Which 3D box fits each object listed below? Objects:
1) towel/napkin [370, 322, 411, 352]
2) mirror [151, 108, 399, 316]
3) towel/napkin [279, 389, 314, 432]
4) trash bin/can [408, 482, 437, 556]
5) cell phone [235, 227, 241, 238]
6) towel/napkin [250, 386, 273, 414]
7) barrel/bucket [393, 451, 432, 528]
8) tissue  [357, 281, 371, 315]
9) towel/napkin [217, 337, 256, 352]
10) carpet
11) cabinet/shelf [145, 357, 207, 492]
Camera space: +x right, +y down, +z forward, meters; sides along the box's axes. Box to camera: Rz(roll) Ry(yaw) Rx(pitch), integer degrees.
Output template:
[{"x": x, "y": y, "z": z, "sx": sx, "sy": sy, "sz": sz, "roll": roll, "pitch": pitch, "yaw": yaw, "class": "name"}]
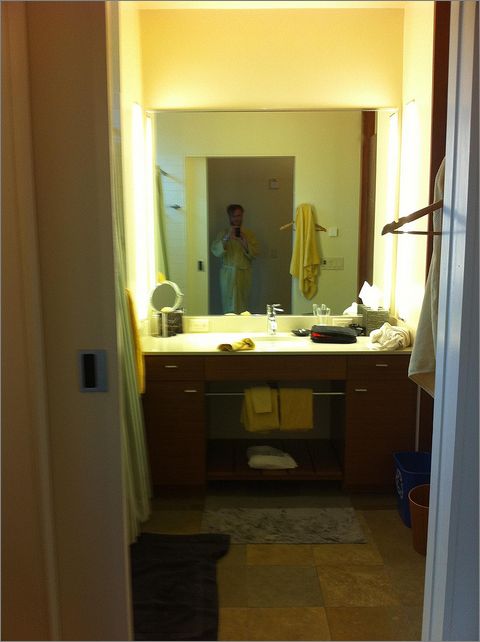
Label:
[{"x": 0.822, "y": 0.086, "z": 3.082, "sx": 0.230, "sy": 0.105, "sz": 0.303, "roll": 2, "pitch": 8, "yaw": 14, "class": "towel/napkin"}, {"x": 0.208, "y": -0.723, "z": 3.403, "sx": 1.106, "sy": 1.012, "sz": 0.018, "roll": 0, "pitch": 7, "yaw": -1, "class": "mirror"}, {"x": 0.302, "y": 0.483, "z": 3.014, "sx": 0.186, "sy": 0.221, "sz": 0.061, "roll": -3, "pitch": 6, "yaw": -5, "class": "towel/napkin"}, {"x": 0.825, "y": 0.905, "z": 2.484, "sx": 0.138, "sy": 0.225, "sz": 0.143, "roll": -5, "pitch": -1, "yaw": -11, "class": "trash bin/can"}, {"x": -0.015, "y": -0.552, "z": 3.458, "sx": 0.041, "sy": 0.065, "sz": 0.018, "roll": -1, "pitch": 3, "yaw": 1, "class": "cell phone"}, {"x": 0.119, "y": 0.430, "z": 3.041, "sx": 0.116, "sy": 0.133, "sz": 0.046, "roll": -3, "pitch": -6, "yaw": -7, "class": "towel/napkin"}, {"x": 0.886, "y": 0.848, "z": 2.806, "sx": 0.184, "sy": 0.271, "sz": 0.342, "roll": -1, "pitch": -1, "yaw": 3, "class": "barrel/bucket"}, {"x": 0.763, "y": -0.146, "z": 3.452, "sx": 0.036, "sy": 0.164, "sz": 0.147, "roll": 4, "pitch": -21, "yaw": 17, "class": "tissue "}, {"x": -0.023, "y": 0.128, "z": 3.010, "sx": 0.201, "sy": 0.048, "sz": 0.123, "roll": -1, "pitch": 7, "yaw": -3, "class": "towel/napkin"}, {"x": 0.197, "y": 0.995, "z": 2.775, "sx": 0.774, "sy": 0.013, "sz": 0.438, "roll": 0, "pitch": 7, "yaw": -1, "class": "carpet"}, {"x": -0.317, "y": 0.519, "z": 3.178, "sx": 0.368, "sy": 0.731, "sz": 0.425, "roll": -1, "pitch": 9, "yaw": -1, "class": "cabinet/shelf"}]
